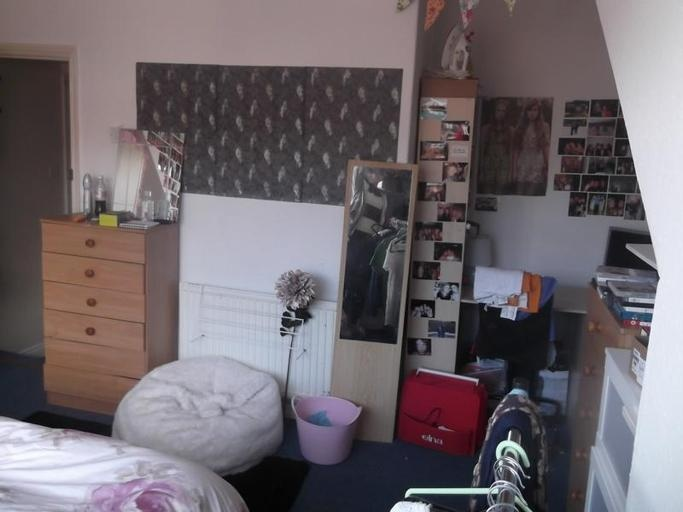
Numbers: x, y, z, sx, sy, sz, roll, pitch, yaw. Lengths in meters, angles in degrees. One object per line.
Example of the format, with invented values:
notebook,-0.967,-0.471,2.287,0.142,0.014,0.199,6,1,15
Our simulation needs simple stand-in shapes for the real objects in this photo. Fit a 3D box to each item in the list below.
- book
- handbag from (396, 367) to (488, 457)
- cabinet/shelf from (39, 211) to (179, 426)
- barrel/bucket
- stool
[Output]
book,1.332,0.173,2.574,0.340,0.088,0.313,-14,18,-31
handbag,0.710,1.028,3.880,0.740,0.720,0.433,4,5,19
cabinet/shelf,-1.813,0.315,4.078,0.723,1.294,0.436,8,23,-6
barrel/bucket,-0.123,1.149,3.665,0.407,0.308,0.388,8,8,-1
stool,-0.954,1.021,3.600,0.729,0.316,0.748,1,7,40
